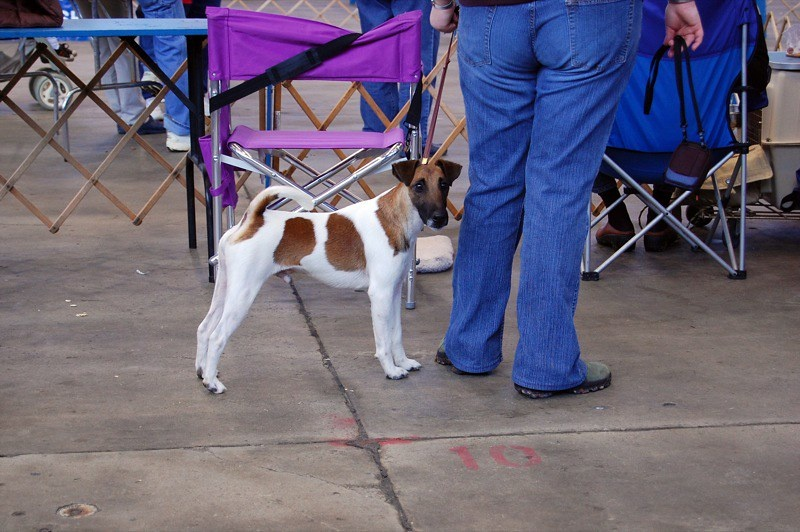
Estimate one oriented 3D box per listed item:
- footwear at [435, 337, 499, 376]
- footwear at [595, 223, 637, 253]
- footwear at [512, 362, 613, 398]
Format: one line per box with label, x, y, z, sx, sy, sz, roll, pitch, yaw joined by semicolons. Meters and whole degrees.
footwear;0.328;0.473;4.494;0.346;0.134;0.127;4;7;37
footwear;1.493;-0.195;6.151;0.138;0.142;0.343;-13;17;-12
footwear;0.800;0.552;4.338;0.486;0.188;0.175;-7;17;-13
